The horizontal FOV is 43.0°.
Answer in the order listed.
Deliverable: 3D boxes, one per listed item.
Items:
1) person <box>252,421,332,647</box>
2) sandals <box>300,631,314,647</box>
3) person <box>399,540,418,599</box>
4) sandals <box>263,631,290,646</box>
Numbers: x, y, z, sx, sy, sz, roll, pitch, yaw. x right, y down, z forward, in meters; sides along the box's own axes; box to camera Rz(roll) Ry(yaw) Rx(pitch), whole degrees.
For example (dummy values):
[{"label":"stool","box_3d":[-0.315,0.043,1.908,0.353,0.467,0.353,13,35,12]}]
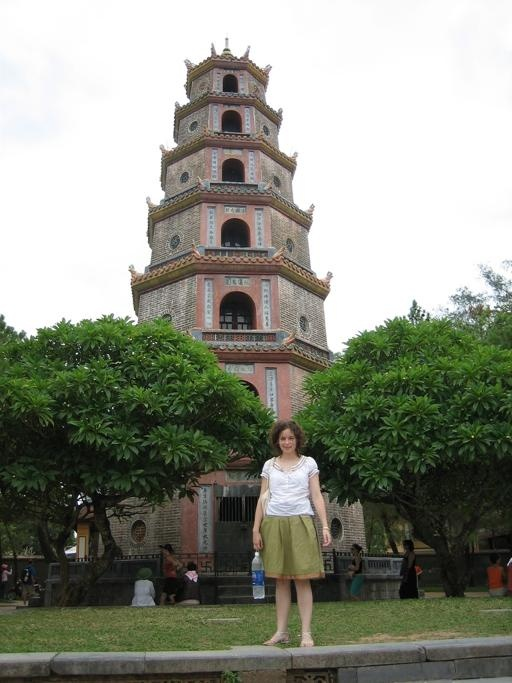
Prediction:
[{"label":"person","box_3d":[0.251,1.329,4.728,0.548,1.546,0.449,-5,-16,5]},{"label":"sandals","box_3d":[0.346,1.983,4.333,0.067,0.058,0.159,1,-1,2]},{"label":"person","box_3d":[2.514,3.746,10.796,0.308,0.907,0.883,-6,-16,10]},{"label":"sandals","box_3d":[0.153,2.040,4.470,0.195,0.071,0.069,5,-21,-13]}]
